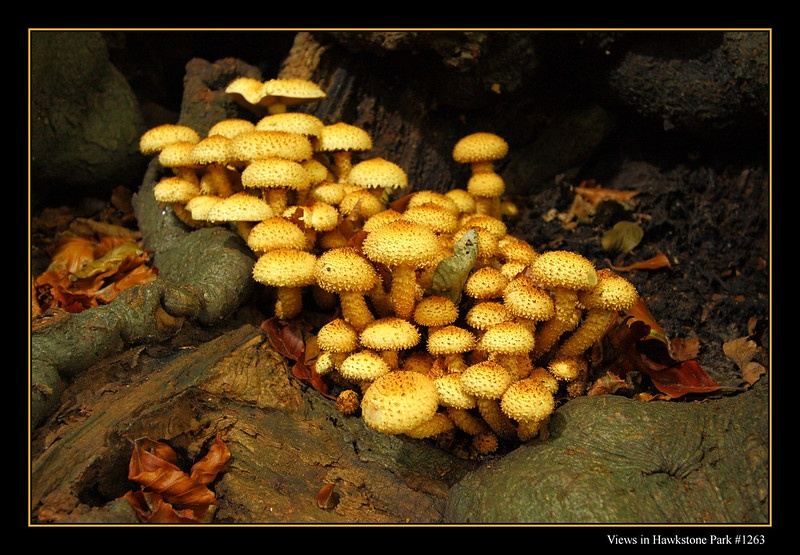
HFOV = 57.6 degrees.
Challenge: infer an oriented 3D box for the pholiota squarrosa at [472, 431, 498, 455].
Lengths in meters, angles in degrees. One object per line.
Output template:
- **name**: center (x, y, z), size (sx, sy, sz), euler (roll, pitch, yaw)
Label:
- **pholiota squarrosa**: center (0.739, 1.411, 6.254), size (0.219, 0.065, 0.207), euler (-2, 84, 12)

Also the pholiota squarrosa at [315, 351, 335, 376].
- **pholiota squarrosa**: center (-0.650, 0.730, 6.262), size (0.186, 0.063, 0.165), euler (-40, 51, 11)

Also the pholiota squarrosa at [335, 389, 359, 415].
- **pholiota squarrosa**: center (-0.445, 1.054, 6.209), size (0.184, 0.204, 0.186), euler (1, 93, 2)

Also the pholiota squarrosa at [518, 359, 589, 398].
- **pholiota squarrosa**: center (1.383, 0.874, 6.302), size (0.370, 0.208, 0.424), euler (31, 35, 28)
